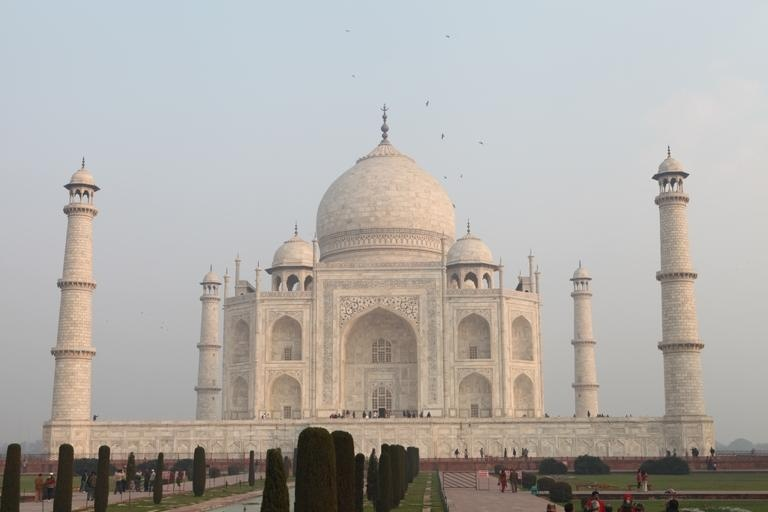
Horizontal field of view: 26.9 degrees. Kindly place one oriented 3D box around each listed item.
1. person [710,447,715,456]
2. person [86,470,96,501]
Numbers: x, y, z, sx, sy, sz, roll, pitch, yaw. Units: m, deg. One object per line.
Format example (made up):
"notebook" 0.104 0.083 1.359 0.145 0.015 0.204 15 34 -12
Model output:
"person" 15.678 9.384 76.703 0.208 0.470 0.826 -5 -16 9
"person" -11.407 9.129 62.998 0.331 1.271 1.575 1 -16 -11
